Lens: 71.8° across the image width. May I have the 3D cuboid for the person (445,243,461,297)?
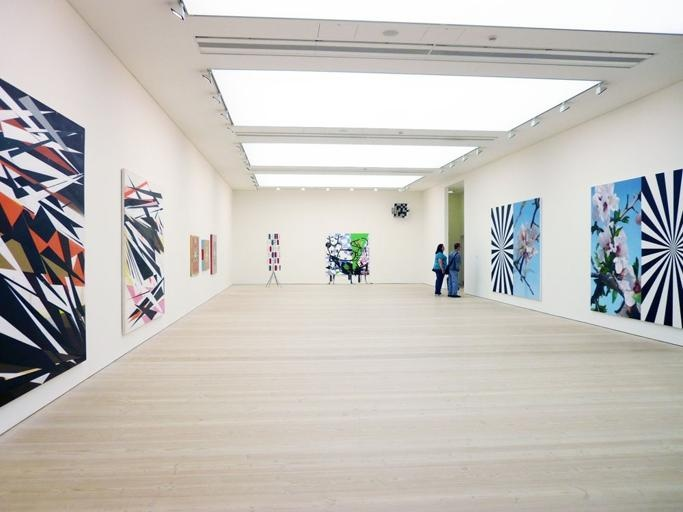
[{"bbox_3d":[3.484,0.465,14.648,0.427,1.729,1.510,3,11,13],"label":"person"}]

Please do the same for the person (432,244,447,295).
[{"bbox_3d":[3.159,0.426,15.189,0.409,1.710,1.700,2,11,12],"label":"person"}]
